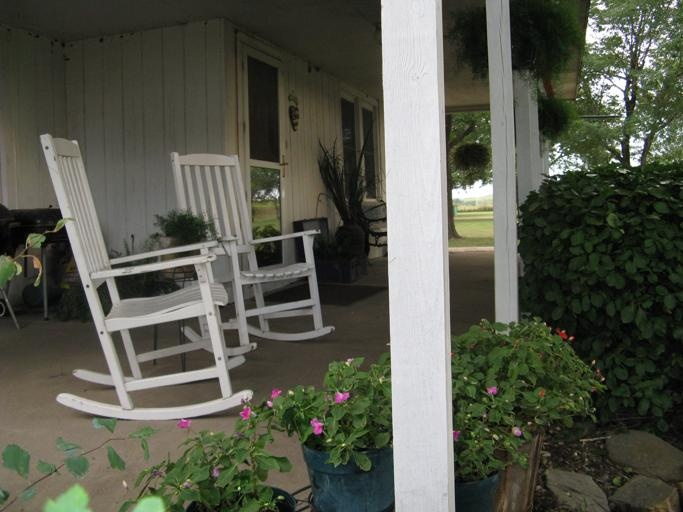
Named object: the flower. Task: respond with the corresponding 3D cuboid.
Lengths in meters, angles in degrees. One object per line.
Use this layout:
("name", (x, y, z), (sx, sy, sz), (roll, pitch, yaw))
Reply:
("flower", (0.231, 0.324, 1.853), (1.100, 0.437, 0.760), (-17, -6, -24))
